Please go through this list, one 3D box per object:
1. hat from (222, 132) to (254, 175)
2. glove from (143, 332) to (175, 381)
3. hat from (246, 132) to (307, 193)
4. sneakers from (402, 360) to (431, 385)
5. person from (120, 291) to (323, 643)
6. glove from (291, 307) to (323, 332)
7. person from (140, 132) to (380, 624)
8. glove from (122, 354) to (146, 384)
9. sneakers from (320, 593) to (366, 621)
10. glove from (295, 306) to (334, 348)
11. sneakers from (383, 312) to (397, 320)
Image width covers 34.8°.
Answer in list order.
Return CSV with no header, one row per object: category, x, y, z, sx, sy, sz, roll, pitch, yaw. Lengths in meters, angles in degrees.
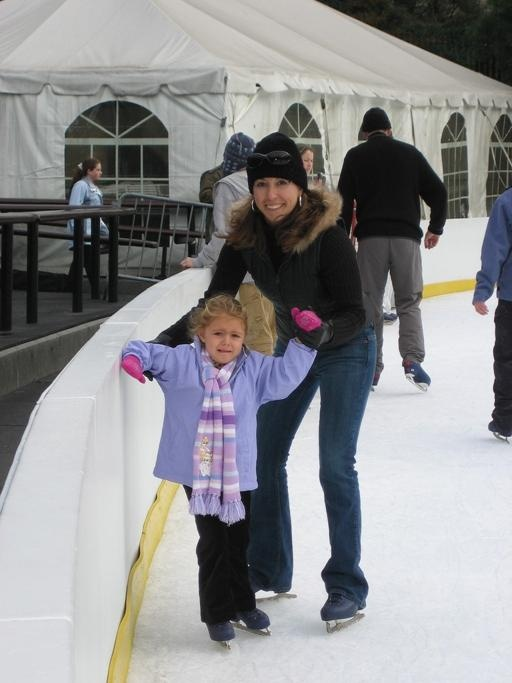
hat,-0.153,-1.270,5.473,0.198,0.249,0.276,26,22,17
glove,-0.295,0.044,2.467,0.124,0.131,0.103,16,-11,-37
hat,0.048,-0.555,2.501,0.168,0.158,0.169,-3,10,-17
sneakers,1.283,0.244,6.572,0.291,0.123,0.103,45,-9,-23
person,-0.103,0.391,2.458,0.567,1.057,0.307,-2,8,-7
glove,0.146,-0.065,2.310,0.080,0.058,0.029,34,11,16
person,0.043,0.130,2.606,0.801,1.506,0.697,-1,1,-11
glove,-0.345,0.075,2.282,0.060,0.076,0.089,-2,7,-10
sneakers,0.266,0.833,2.561,0.064,0.069,0.178,-10,-11,20
glove,0.162,-0.035,2.347,0.123,0.047,0.091,43,24,-2
sneakers,1.743,-0.332,10.631,0.234,0.104,0.312,1,6,5
